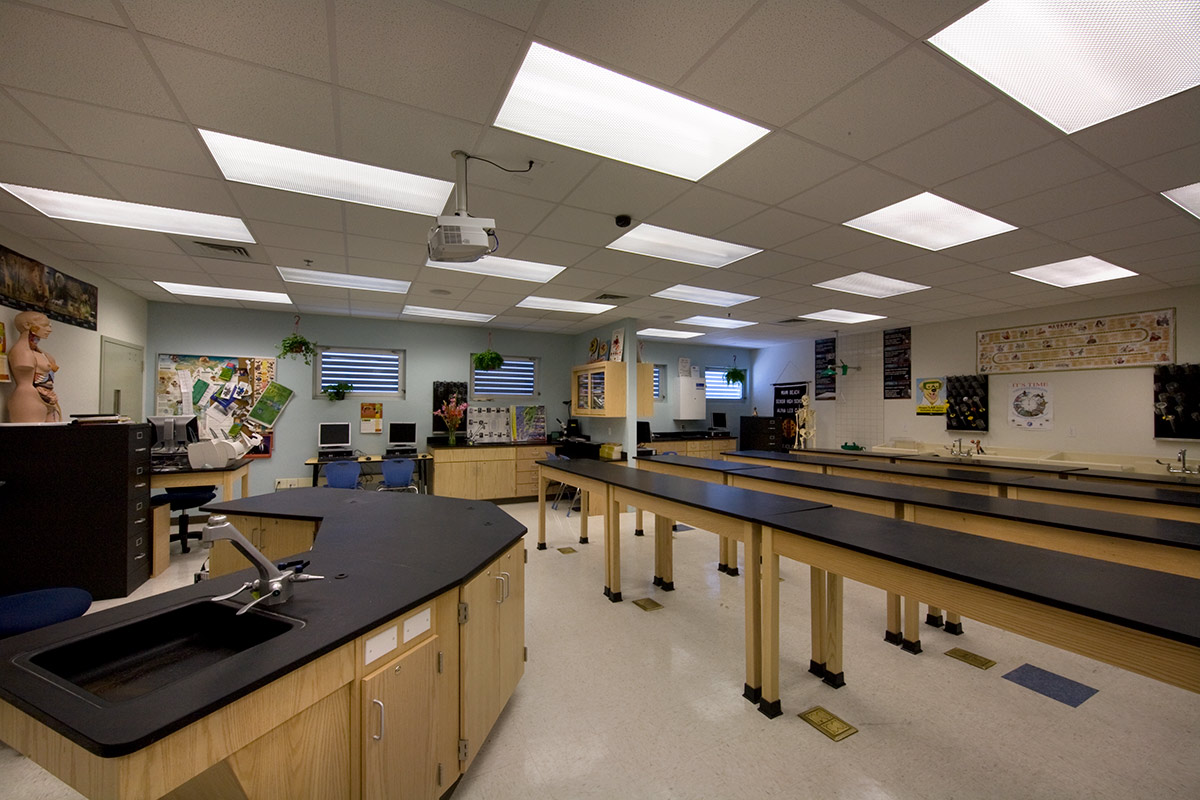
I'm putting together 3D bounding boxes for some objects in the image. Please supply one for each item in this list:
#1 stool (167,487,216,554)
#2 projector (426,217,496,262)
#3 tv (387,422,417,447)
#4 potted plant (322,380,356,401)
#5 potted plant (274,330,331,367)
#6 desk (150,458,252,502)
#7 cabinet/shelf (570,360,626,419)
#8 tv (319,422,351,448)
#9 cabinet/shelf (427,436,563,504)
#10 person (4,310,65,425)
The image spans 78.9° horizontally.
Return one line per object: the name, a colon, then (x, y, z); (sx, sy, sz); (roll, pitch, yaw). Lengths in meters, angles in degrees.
stool: (-4.464, 1.265, 7.800); (0.643, 0.541, 0.612); (4, -6, -30)
projector: (-1.043, -1.188, 5.496); (0.464, 0.262, 0.339); (-1, 0, -24)
tv: (-2.779, 0.485, 10.198); (0.320, 0.279, 0.084); (2, -11, -21)
potted plant: (-3.587, -0.120, 9.988); (0.279, 0.204, 0.269); (-2, 8, -15)
potted plant: (-3.822, -0.636, 9.184); (0.540, 0.347, 0.539); (1, 1, 27)
desk: (-4.212, 0.826, 7.628); (0.589, 0.550, 0.554); (-1, 0, -37)
cabinet/shelf: (-0.007, -0.140, 10.436); (0.358, 0.781, 1.101); (1, -2, -27)
tv: (-3.564, 0.471, 9.769); (0.297, 0.278, 0.096); (2, -13, -22)
cabinet/shelf: (-1.542, 1.052, 10.544); (1.773, 0.872, 0.505); (-1, 5, -21)
person: (-5.195, -0.290, 6.688); (0.397, 1.008, 0.667); (3, -5, -35)
